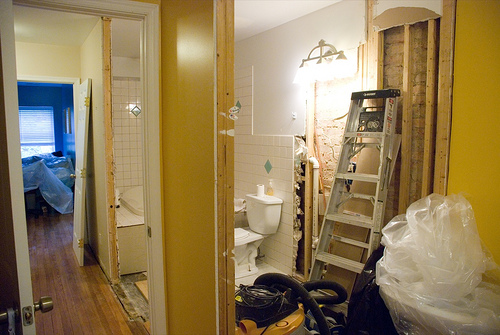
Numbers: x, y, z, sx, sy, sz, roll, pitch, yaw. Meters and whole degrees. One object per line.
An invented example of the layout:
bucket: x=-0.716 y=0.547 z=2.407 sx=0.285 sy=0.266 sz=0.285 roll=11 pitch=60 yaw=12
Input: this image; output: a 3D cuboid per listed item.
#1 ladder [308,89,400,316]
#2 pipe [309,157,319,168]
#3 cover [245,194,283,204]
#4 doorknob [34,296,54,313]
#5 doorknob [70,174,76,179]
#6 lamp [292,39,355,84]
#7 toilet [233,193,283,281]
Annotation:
ladder: x=1.043 y=0.257 z=3.586 sx=0.624 sy=2.061 sz=0.851 roll=8 pitch=15 yaw=23
pipe: x=0.767 y=-0.062 z=4.252 sx=0.131 sy=0.116 sz=0.077 roll=-2 pitch=-7 yaw=-24
cover: x=0.181 y=0.419 z=4.773 sx=0.260 sy=0.088 sz=0.477 roll=-7 pitch=16 yaw=-34
doorknob: x=-1.092 y=0.732 z=1.902 sx=0.111 sy=0.083 sz=0.082 roll=1 pitch=-6 yaw=-28
doorknob: x=-2.882 y=0.142 z=5.840 sx=0.082 sy=0.028 sz=0.081 roll=3 pitch=5 yaw=-19
lamp: x=0.813 y=-1.169 z=3.952 sx=0.275 sy=0.455 sz=0.668 roll=-10 pitch=18 yaw=-40
toilet: x=-0.009 y=0.879 z=4.701 sx=0.720 sy=0.970 sz=0.447 roll=-10 pitch=18 yaw=-39
